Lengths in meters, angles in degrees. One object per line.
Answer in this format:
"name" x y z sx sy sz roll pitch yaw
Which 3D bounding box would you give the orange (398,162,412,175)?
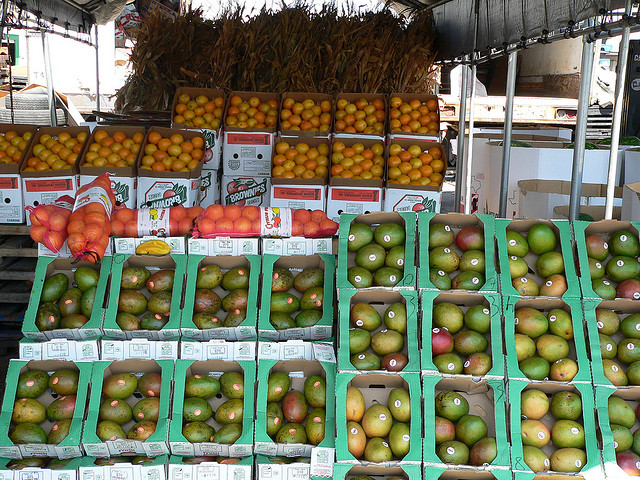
"orange" 0.829 -0.702 5.024 0.114 0.113 0.113 -1 2 -12

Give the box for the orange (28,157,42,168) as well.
"orange" -2.759 -0.762 4.970 0.101 0.106 0.102 -6 19 -29

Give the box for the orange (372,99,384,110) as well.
"orange" 0.653 -1.515 5.765 0.120 0.121 0.118 -20 12 -33

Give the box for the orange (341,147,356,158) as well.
"orange" 0.292 -0.888 5.177 0.098 0.098 0.101 -4 39 -14

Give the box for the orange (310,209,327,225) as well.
"orange" -0.013 -0.149 3.469 0.092 0.097 0.114 1 54 -14

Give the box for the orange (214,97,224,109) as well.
"orange" -1.136 -1.553 5.814 0.112 0.116 0.115 -1 24 -6

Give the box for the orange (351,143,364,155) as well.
"orange" 0.386 -0.926 5.229 0.106 0.113 0.131 2 8 -20

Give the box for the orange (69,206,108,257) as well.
"orange" -1.418 -0.078 3.163 0.226 0.155 0.444 -6 33 -11

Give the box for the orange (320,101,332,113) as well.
"orange" 0.066 -1.503 5.780 0.110 0.116 0.114 3 -30 6

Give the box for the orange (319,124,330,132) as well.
"orange" 0.052 -1.202 5.603 0.100 0.106 0.123 -14 18 -9

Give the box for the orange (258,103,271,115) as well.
"orange" -0.624 -1.481 5.766 0.111 0.116 0.140 -8 35 -7

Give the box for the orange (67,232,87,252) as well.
"orange" -1.429 0.019 3.058 0.098 0.103 0.121 10 35 -36

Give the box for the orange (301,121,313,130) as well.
"orange" -0.139 -1.250 5.591 0.137 0.087 0.092 -6 11 -19

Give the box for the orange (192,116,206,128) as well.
"orange" -1.316 -1.279 5.578 0.110 0.114 0.107 -1 10 -31

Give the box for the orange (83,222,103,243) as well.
"orange" -1.348 -0.044 3.047 0.106 0.107 0.074 -7 11 -25

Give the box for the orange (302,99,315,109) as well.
"orange" -0.134 -1.520 5.736 0.105 0.086 0.083 1 -25 -7

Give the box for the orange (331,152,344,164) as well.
"orange" 0.178 -0.822 5.153 0.104 0.108 0.106 8 27 -5

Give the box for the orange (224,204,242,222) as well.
"orange" -0.579 -0.196 3.389 0.102 0.105 0.129 0 46 -12

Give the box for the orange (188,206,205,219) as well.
"orange" -0.847 -0.192 3.510 0.105 0.068 0.147 -5 12 -12

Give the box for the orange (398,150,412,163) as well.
"orange" 0.847 -0.831 5.157 0.100 0.107 0.100 0 -7 -19

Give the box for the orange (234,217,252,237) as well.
"orange" -0.501 -0.082 3.311 0.106 0.132 0.109 -1 -32 -5

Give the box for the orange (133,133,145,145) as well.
"orange" -1.836 -1.030 5.201 0.107 0.107 0.109 -6 11 -20

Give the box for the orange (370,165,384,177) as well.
"orange" 0.558 -0.681 5.106 0.103 0.110 0.106 0 -7 5

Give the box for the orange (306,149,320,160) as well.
"orange" -0.080 -0.859 5.175 0.099 0.106 0.101 -4 -29 -7

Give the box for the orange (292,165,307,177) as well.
"orange" -0.210 -0.689 5.105 0.108 0.110 0.058 -2 -10 -3

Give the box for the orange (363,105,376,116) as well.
"orange" 0.534 -1.436 5.649 0.112 0.117 0.109 -9 27 -32

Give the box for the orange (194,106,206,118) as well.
"orange" -1.326 -1.410 5.717 0.103 0.102 0.105 19 34 -55

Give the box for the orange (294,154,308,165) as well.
"orange" -0.188 -0.790 5.163 0.116 0.109 0.100 -1 -12 43

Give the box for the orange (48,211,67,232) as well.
"orange" -1.606 -0.111 3.150 0.087 0.113 0.092 0 11 14

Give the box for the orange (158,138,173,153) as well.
"orange" -1.524 -0.945 5.084 0.125 0.133 0.124 -2 -31 -7

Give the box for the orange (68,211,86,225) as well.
"orange" -1.482 -0.150 3.146 0.089 0.052 0.073 -28 35 -3

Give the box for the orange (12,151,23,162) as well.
"orange" -2.960 -0.814 5.024 0.080 0.103 0.082 -3 -35 -4

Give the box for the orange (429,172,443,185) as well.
"orange" 1.134 -0.601 5.043 0.110 0.109 0.112 1 3 -3

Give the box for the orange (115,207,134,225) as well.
"orange" -1.271 -0.165 3.374 0.098 0.102 0.120 2 36 -12

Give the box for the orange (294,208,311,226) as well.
"orange" -0.116 -0.157 3.400 0.108 0.086 0.131 -3 11 -2

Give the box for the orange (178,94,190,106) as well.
"orange" -1.531 -1.588 5.797 0.121 0.117 0.098 0 11 10

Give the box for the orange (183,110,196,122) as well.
"orange" -1.438 -1.362 5.598 0.100 0.107 0.101 2 -11 -14

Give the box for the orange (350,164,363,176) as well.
"orange" 0.355 -0.691 5.094 0.102 0.102 0.101 8 -11 -6

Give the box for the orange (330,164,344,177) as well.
"orange" 0.165 -0.695 5.045 0.098 0.102 0.097 -21 22 -14

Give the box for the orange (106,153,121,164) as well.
"orange" -1.989 -0.797 4.947 0.095 0.095 0.095 -22 29 -30

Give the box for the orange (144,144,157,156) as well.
"orange" -1.664 -0.882 5.096 0.109 0.110 0.106 -38 3 -30

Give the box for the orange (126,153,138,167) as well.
"orange" -1.823 -0.784 4.980 0.109 0.114 0.237 -6 12 -19

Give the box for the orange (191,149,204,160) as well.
"orange" -1.213 -0.848 5.082 0.100 0.103 0.099 25 29 6

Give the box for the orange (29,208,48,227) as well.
"orange" -1.730 -0.140 3.150 0.149 0.108 0.058 3 11 26

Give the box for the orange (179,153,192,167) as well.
"orange" -1.304 -0.789 5.003 0.114 0.122 0.115 -1 20 -18

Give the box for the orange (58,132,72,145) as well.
"orange" -2.601 -1.037 5.234 0.126 0.120 0.125 3 12 27

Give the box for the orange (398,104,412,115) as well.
"orange" 0.946 -1.452 5.711 0.109 0.108 0.131 5 13 -5

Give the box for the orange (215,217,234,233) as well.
"orange" -0.615 -0.089 3.293 0.094 0.092 0.099 1 54 -8

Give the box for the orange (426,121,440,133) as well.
"orange" 1.230 -1.243 5.602 0.119 0.128 0.122 -1 -1 -5

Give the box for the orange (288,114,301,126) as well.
"orange" -0.280 -1.312 5.613 0.133 0.124 0.094 -11 13 -37

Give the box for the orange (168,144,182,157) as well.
"orange" -1.421 -0.878 5.052 0.127 0.116 0.098 6 13 36

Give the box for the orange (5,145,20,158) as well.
"orange" -3.088 -0.902 5.164 0.151 0.137 0.133 2 11 20

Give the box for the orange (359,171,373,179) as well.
"orange" 0.450 -0.634 4.985 0.082 0.085 0.083 -3 33 1
